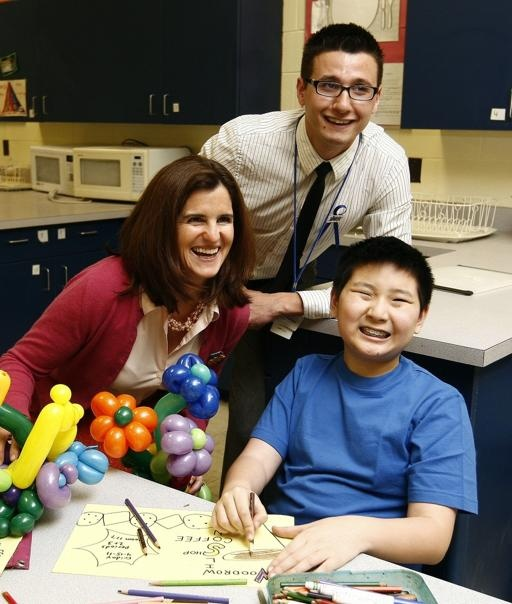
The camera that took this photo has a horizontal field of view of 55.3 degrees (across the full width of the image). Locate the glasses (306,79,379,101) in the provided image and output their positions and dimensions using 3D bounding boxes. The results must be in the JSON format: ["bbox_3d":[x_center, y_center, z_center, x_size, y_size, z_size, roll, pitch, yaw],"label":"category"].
[{"bbox_3d":[0.231,-0.575,1.322,0.183,0.053,0.052,4,-1,6],"label":"glasses"}]

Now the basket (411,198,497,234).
[{"bbox_3d":[1.096,-0.481,2.707,0.381,0.123,0.274,5,20,19],"label":"basket"}]

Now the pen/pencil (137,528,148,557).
[{"bbox_3d":[-0.137,0.279,0.574,0.007,0.007,0.050,-13,25,-19],"label":"pen/pencil"}]
